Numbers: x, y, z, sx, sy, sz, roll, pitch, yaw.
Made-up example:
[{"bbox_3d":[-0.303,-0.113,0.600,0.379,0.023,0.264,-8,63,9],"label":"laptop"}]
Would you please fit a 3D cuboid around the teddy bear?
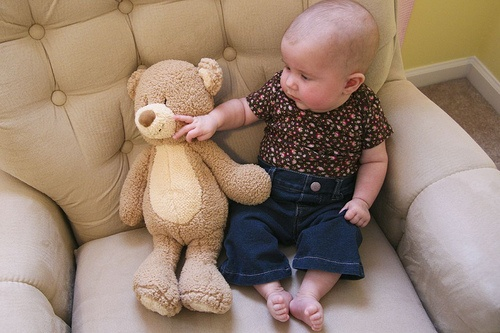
[{"bbox_3d":[-0.192,0.052,1.136,0.423,0.634,0.409,2,24,20],"label":"teddy bear"}]
